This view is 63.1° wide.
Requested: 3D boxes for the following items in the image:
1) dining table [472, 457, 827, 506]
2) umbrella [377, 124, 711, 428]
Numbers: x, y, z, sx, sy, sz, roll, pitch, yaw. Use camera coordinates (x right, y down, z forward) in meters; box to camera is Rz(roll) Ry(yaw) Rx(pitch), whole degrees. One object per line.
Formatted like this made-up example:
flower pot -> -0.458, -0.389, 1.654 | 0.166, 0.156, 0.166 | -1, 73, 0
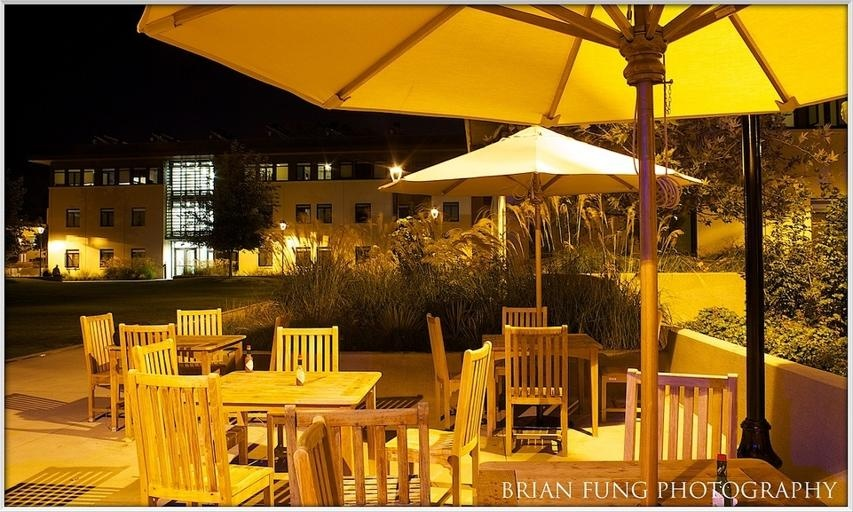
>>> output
dining table -> 1.744, 1.886, 5.798 | 2.654, 0.260, 0.647 | 2, -1, 5
umbrella -> 1.410, -0.127, 8.970 | 3.037, 2.835, 3.103 | -9, -7, 42
